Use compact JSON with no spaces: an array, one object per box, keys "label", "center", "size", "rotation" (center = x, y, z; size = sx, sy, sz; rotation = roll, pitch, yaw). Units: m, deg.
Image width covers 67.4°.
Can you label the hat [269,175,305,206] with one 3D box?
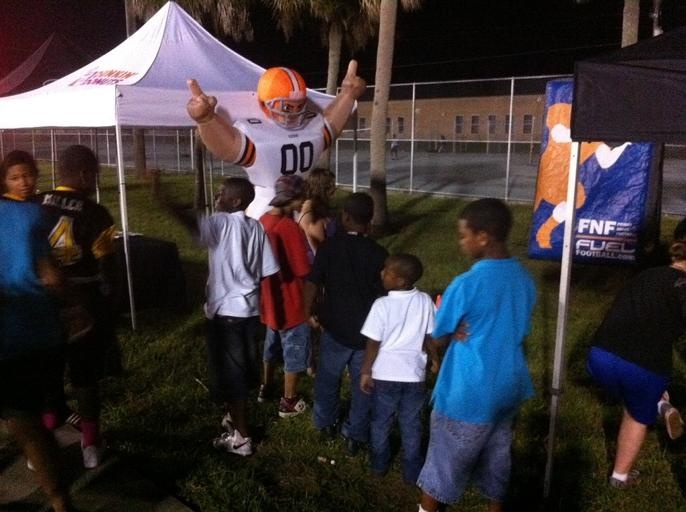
[{"label":"hat","center":[-0.430,-0.498,4.006],"size":[0.214,0.247,0.170],"rotation":[6,12,24]}]

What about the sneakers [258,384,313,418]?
[{"label":"sneakers","center":[-0.456,1.249,4.474],"size":[0.530,0.239,0.182],"rotation":[3,1,-43]}]

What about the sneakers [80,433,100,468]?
[{"label":"sneakers","center":[-1.850,1.437,3.790],"size":[0.104,0.116,0.241],"rotation":[-2,14,-43]}]

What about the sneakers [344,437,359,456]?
[{"label":"sneakers","center":[0.074,1.484,3.991],"size":[0.099,0.137,0.053],"rotation":[2,10,2]}]

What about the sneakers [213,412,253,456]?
[{"label":"sneakers","center":[-0.882,1.385,4.044],"size":[0.217,0.171,0.388],"rotation":[1,2,-44]}]
